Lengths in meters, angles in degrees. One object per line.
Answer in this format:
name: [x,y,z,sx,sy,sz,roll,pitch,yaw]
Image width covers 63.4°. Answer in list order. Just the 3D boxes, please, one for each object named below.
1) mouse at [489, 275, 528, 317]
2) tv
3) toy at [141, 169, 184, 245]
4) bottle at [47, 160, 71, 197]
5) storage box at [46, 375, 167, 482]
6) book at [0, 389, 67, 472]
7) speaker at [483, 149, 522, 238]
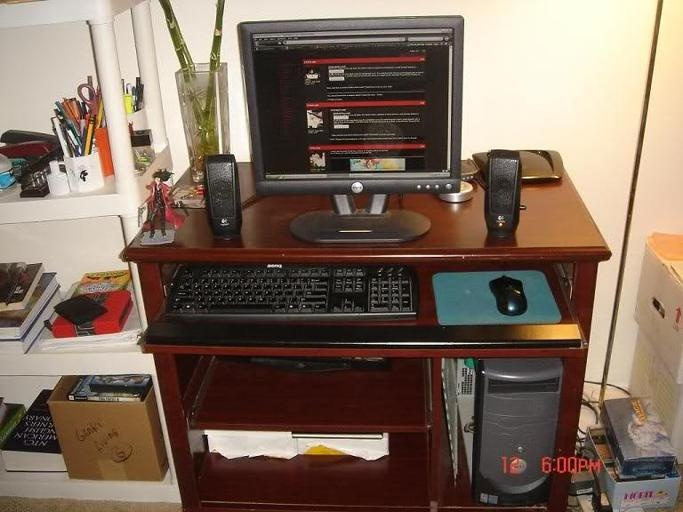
mouse: [0.433,0.095,1.427,0.090,0.046,0.143,-3,31,6]
tv: [0.034,-0.332,1.442,0.655,0.612,0.228,0,31,4]
toy: [-0.485,-0.140,1.467,0.120,0.190,0.104,2,22,-9]
bottle: [-0.771,-0.212,1.480,0.067,0.093,0.055,-5,23,-3]
storage box: [-0.741,0.553,1.938,0.359,0.343,0.348,-1,26,-3]
book: [-0.995,0.576,1.855,0.266,0.062,0.263,3,29,-2]
speaker: [0.414,-0.164,1.426,0.091,0.205,0.110,3,24,17]
